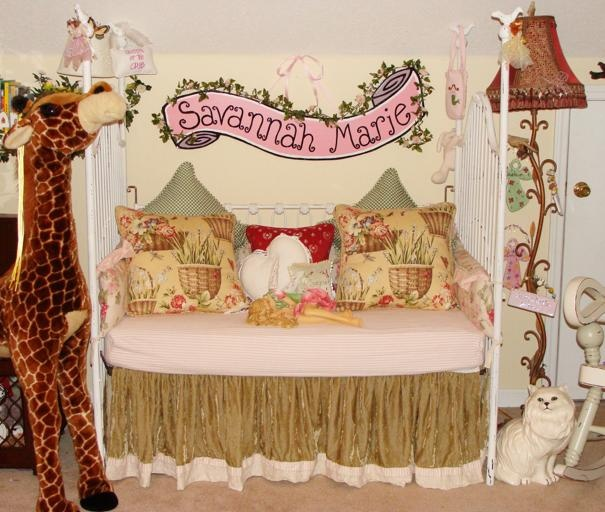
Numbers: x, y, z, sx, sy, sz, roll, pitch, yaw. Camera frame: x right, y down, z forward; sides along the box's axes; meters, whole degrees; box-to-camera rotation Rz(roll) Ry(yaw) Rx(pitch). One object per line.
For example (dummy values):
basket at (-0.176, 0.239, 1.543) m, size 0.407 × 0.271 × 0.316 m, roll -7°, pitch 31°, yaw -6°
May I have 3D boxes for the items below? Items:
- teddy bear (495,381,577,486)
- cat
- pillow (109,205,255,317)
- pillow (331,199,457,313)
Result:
teddy bear at (1.166, 0.914, 3.631) m, size 0.327 × 0.552 × 0.475 m, roll 3°, pitch -11°, yaw -33°
cat at (1.203, 0.918, 3.762) m, size 0.324 × 0.552 × 0.457 m, roll -7°, pitch 3°, yaw -31°
pillow at (-0.687, 0.047, 3.950) m, size 0.497 × 0.524 × 0.198 m, roll -2°, pitch -1°, yaw -20°
pillow at (0.529, -0.018, 4.119) m, size 0.651 × 0.744 × 0.265 m, roll -1°, pitch 23°, yaw 5°
